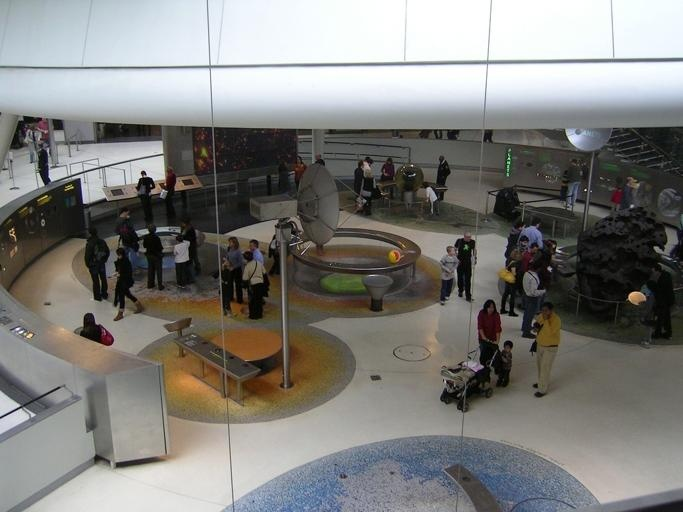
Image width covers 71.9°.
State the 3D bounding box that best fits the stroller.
[{"bbox_3d":[2.279,2.221,8.654,1.367,1.249,0.871,-10,15,-37],"label":"stroller"}]

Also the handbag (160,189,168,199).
[{"bbox_3d":[-6.587,-2.280,17.284,0.357,0.347,0.088,12,43,-37],"label":"handbag"}]

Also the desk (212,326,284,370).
[{"bbox_3d":[-1.778,1.915,9.471,1.169,0.619,1.254,-10,17,-29],"label":"desk"}]

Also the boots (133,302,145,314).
[{"bbox_3d":[-5.005,1.195,11.549,0.211,0.254,0.417,-9,16,-25],"label":"boots"}]

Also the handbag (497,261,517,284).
[{"bbox_3d":[4.077,0.411,11.571,0.363,0.277,0.497,31,57,31],"label":"handbag"}]

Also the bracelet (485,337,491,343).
[{"bbox_3d":[2.786,1.581,8.964,0.080,0.062,0.083,3,13,18],"label":"bracelet"}]

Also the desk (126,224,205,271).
[{"bbox_3d":[-5.552,-0.062,14.911,1.574,0.543,1.596,-7,22,-24],"label":"desk"}]

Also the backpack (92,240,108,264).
[{"bbox_3d":[-5.966,-0.117,11.520,0.323,0.589,0.526,-2,3,13],"label":"backpack"}]

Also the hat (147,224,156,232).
[{"bbox_3d":[-4.846,-0.718,11.947,0.136,0.270,0.565,-9,17,-27],"label":"hat"}]

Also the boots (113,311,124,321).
[{"bbox_3d":[-5.305,1.388,11.095,0.255,0.264,0.125,-2,15,-15],"label":"boots"}]

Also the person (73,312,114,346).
[{"bbox_3d":[-4.379,1.325,8.355,0.457,0.637,0.837,-11,17,-30],"label":"person"}]

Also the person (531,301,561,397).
[{"bbox_3d":[3.804,1.625,8.781,0.429,1.792,0.818,4,16,22],"label":"person"}]
